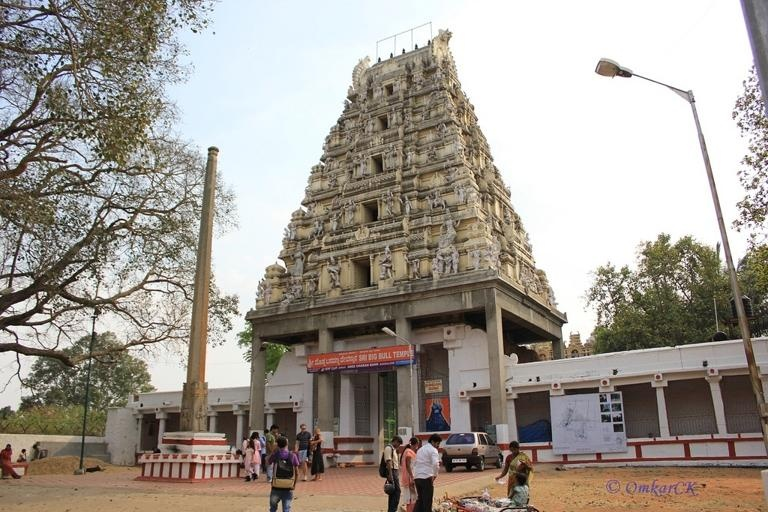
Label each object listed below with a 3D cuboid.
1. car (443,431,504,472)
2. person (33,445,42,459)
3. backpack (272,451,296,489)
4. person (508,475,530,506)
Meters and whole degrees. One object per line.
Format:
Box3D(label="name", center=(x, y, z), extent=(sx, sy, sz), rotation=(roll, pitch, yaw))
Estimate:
Box3D(label="car", center=(4.128, 8.920, 25.900), extent=(1.605, 1.228, 2.672), rotation=(-10, -18, 29))
Box3D(label="person", center=(-22.234, 12.463, 36.123), extent=(0.446, 0.904, 0.484), rotation=(-17, -24, 38))
Box3D(label="backpack", center=(-2.480, 5.296, 13.905), extent=(0.510, 0.858, 0.365), rotation=(2, -19, -13))
Box3D(label="person", center=(3.403, 5.905, 14.284), extent=(0.501, 0.759, 0.398), rotation=(-5, -19, 8))
